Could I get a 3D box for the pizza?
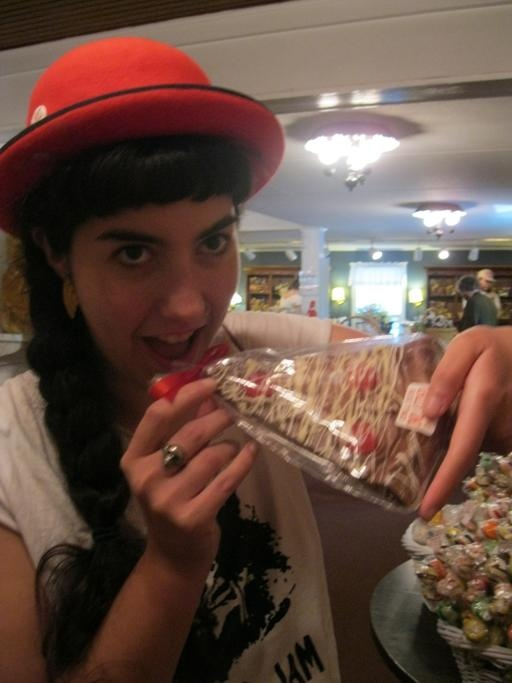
[{"bbox_3d":[0.075,0.121,0.700,0.260,0.094,0.213,17,53,7],"label":"pizza"}]
